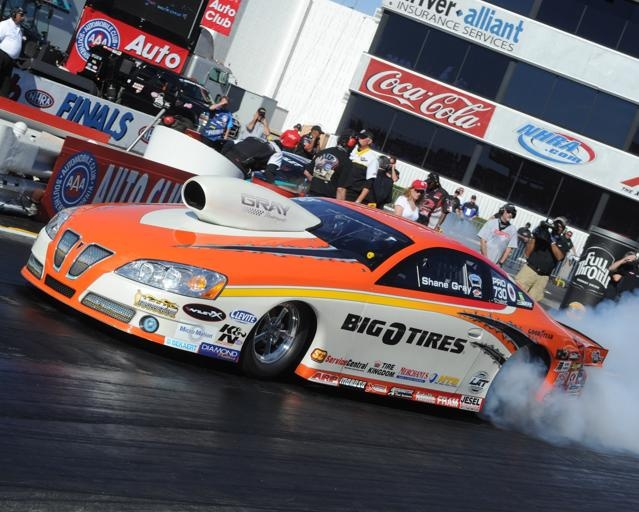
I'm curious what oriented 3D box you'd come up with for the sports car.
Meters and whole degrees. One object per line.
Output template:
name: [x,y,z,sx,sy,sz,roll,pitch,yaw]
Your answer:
sports car: [0.344,0.467,4.718,4.658,1.101,2.395,15,6,-31]
